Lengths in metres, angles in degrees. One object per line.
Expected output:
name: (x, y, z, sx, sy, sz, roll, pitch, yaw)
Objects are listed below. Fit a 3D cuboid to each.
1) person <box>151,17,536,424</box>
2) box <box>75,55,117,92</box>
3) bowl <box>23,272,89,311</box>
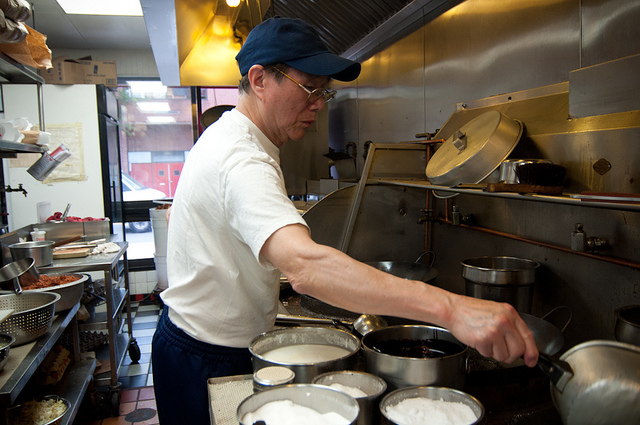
person: (-0.095, 0.097, 1.787, 1.337, 1.729, 0.486, 4, 5, 40)
box: (-2.553, -1.627, 5.355, 0.397, 0.257, 0.401, -2, 19, -12)
bowl: (-1.733, 0.532, 3.146, 0.302, 0.109, 0.303, 1, 3, 0)
